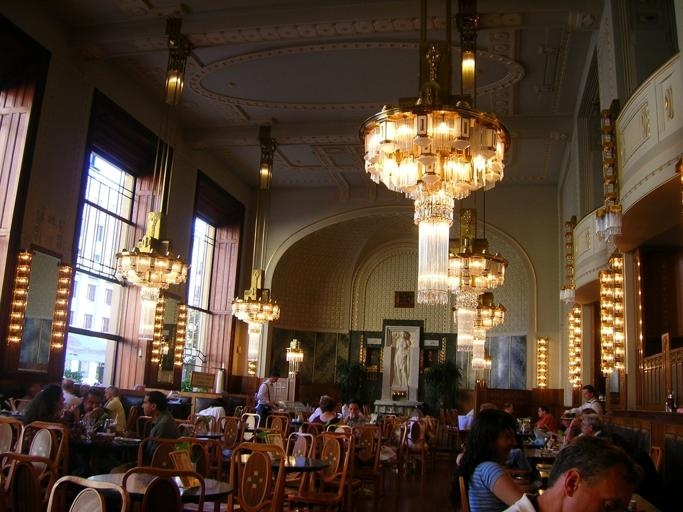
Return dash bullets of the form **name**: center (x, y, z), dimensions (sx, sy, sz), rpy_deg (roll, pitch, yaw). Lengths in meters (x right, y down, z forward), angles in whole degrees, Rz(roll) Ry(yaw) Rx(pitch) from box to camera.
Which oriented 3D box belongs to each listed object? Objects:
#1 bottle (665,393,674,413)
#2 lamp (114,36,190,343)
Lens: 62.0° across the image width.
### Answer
- **bottle**: center (4.672, 2.090, 8.070), dimensions (0.112, 0.308, 0.811), rpy_deg (-7, -21, 29)
- **lamp**: center (-3.296, -1.416, 10.447), dimensions (1.205, 5.028, 1.283), rpy_deg (7, -1, 30)
